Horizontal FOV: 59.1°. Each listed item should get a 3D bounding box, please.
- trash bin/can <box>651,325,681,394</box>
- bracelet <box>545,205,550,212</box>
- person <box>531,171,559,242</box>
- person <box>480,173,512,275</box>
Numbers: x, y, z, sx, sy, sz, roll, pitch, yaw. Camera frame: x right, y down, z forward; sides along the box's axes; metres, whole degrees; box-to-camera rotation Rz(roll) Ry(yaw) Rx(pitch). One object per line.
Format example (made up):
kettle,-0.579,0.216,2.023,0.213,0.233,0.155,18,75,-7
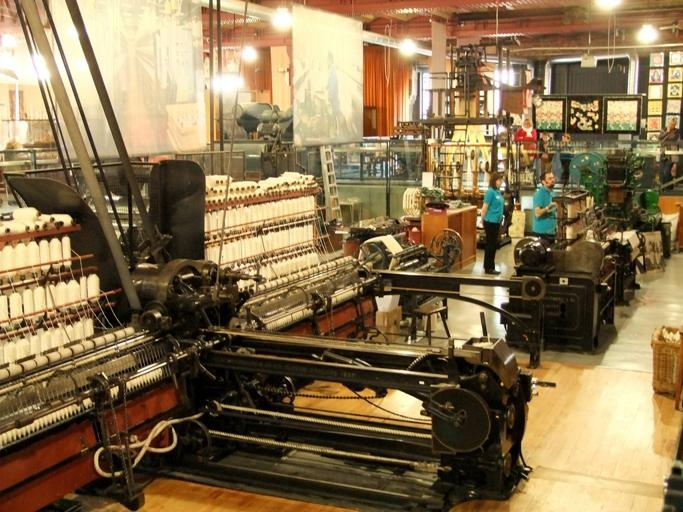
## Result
trash bin/can,3.507,1.035,6.505,0.296,0.798,0.792,4,16,29
bracelet,3.375,-0.765,9.863,0.070,0.075,0.079,3,32,6
person,3.364,-0.862,9.961,0.332,1.041,0.545,5,16,33
person,2.826,-0.566,11.305,0.388,1.900,0.629,0,13,15
